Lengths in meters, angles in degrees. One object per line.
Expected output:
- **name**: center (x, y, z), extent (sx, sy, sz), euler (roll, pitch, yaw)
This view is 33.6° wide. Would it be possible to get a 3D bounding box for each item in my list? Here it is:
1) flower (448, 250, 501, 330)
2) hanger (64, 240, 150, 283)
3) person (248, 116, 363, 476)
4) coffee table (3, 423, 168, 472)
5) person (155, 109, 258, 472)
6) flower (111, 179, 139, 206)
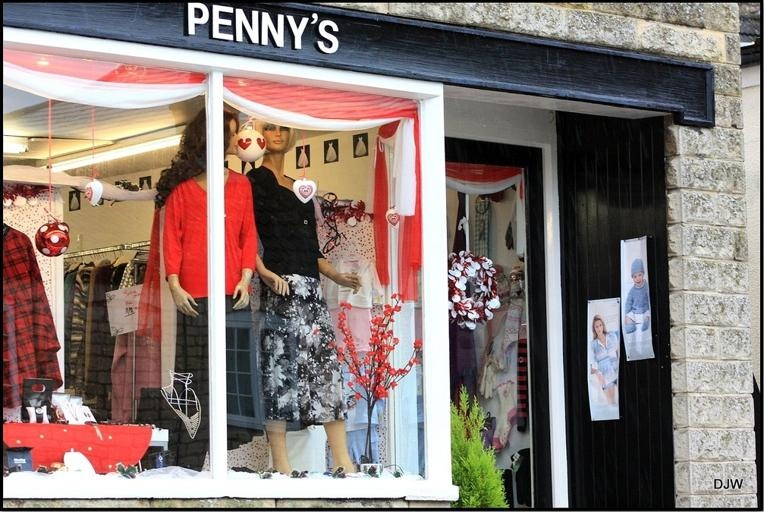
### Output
- **flower**: center (0.698, 0.251, 9.416), extent (0.468, 0.581, 0.113), euler (1, -9, -25)
- **hanger**: center (-1.699, 0.003, 7.826), extent (0.560, 0.165, 0.061), euler (-4, -8, 11)
- **person**: center (-0.509, 0.269, 8.004), extent (0.633, 2.174, 0.263), euler (0, -8, -17)
- **coffee table**: center (-1.808, 1.133, 7.576), extent (0.855, 0.307, 0.120), euler (0, -8, -18)
- **person**: center (-1.071, 0.194, 7.794), extent (0.627, 2.170, 0.222), euler (-1, -8, -11)
- **flower**: center (-1.577, -0.388, 7.795), extent (0.178, 0.143, 0.032), euler (-4, -8, 13)
